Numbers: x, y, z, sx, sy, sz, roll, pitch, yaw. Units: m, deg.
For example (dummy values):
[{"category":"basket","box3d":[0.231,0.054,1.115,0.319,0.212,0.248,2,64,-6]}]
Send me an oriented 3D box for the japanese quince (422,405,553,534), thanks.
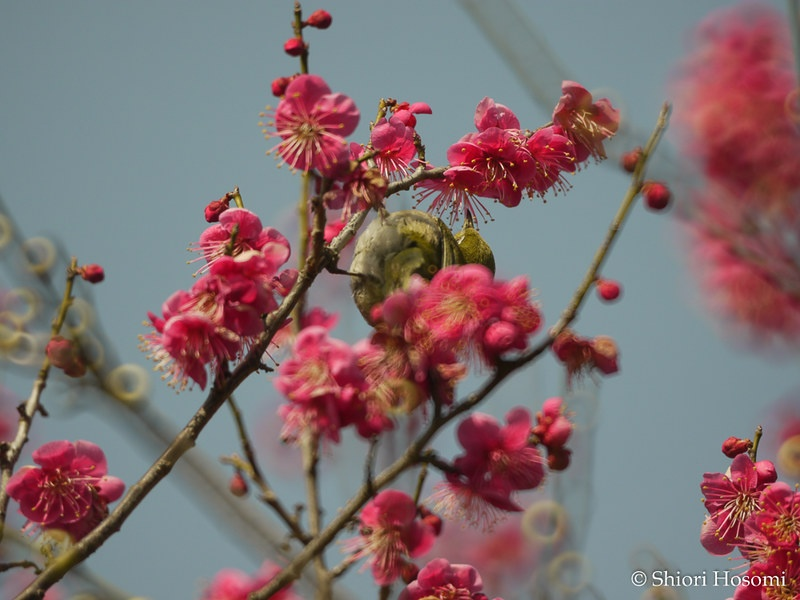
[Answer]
[{"category":"japanese quince","box3d":[0.285,0.535,4.974,0.356,0.202,0.348,10,-50,4]}]
